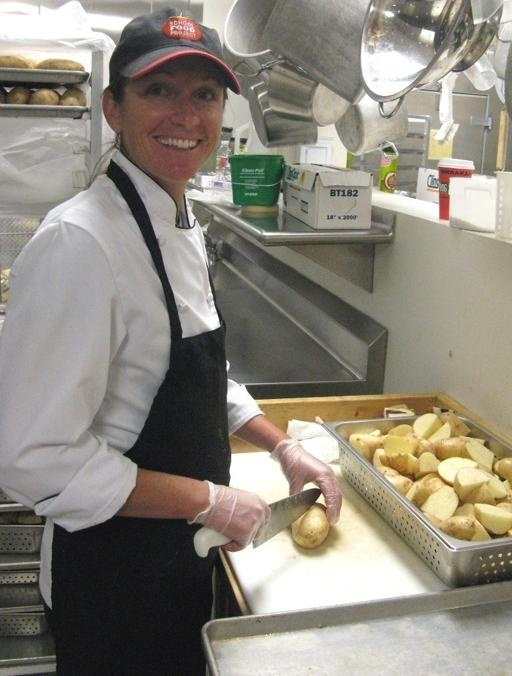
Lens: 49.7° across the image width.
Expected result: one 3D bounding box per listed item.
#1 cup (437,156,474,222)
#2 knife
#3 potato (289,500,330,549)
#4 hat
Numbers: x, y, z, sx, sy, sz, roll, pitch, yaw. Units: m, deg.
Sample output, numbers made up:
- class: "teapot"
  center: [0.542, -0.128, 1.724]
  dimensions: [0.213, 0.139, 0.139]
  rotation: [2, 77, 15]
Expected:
- class: "cup"
  center: [0.472, -0.361, 1.353]
  dimensions: [0.069, 0.143, 0.116]
  rotation: [-3, 10, -17]
- class: "knife"
  center: [0.006, 0.292, 0.932]
  dimensions: [0.268, 0.035, 0.078]
  rotation: [-16, 41, -37]
- class: "potato"
  center: [0.084, 0.331, 1.001]
  dimensions: [0.081, 0.053, 0.159]
  rotation: [6, -5, -6]
- class: "hat"
  center: [-0.123, -0.414, 0.799]
  dimensions: [0.172, 0.104, 0.205]
  rotation: [-12, 23, -34]
